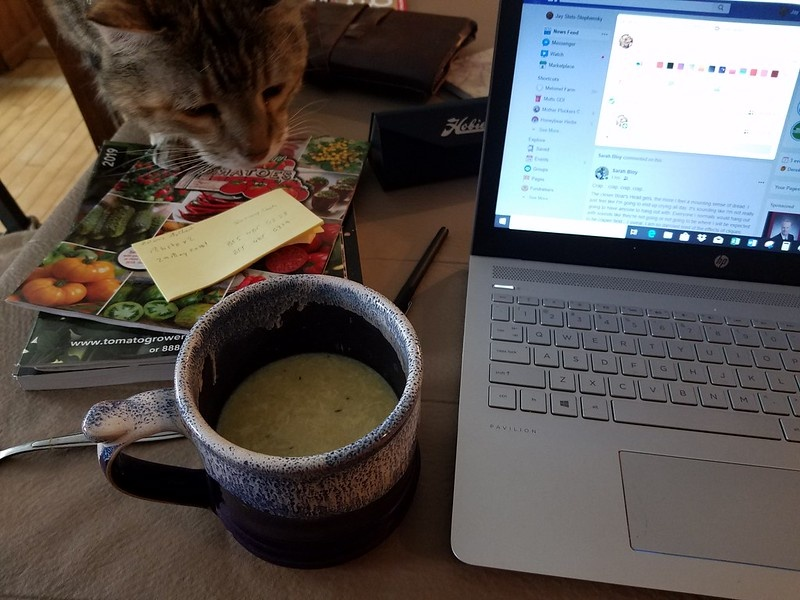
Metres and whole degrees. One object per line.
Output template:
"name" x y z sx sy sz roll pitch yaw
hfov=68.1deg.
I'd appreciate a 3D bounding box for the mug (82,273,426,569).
"mug" -0.078 0.089 0.433 0.187 0.134 0.188 21 54 18
